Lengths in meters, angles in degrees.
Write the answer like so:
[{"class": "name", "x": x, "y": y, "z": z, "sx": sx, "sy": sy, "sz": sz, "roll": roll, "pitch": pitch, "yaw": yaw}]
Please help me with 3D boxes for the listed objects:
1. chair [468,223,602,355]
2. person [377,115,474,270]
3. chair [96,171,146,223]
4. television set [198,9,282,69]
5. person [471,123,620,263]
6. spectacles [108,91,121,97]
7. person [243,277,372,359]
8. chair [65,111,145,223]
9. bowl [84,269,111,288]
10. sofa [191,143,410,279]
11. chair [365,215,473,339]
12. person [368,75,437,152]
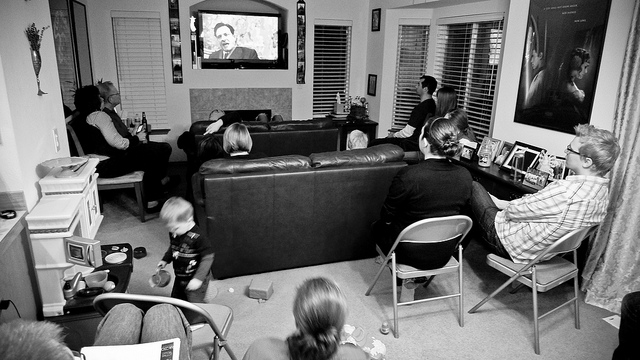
[{"class": "chair", "x": 2.359, "y": 0.961, "z": 4.245, "sx": 1.251, "sy": 1.225, "sz": 0.814, "roll": -16, "pitch": 25, "yaw": -35}, {"class": "person", "x": 1.086, "y": 0.143, "z": 4.042, "sx": 0.895, "sy": 1.459, "sz": 0.579, "roll": -5, "pitch": 21, "yaw": -10}, {"class": "chair", "x": -2.706, "y": 0.295, "z": 5.971, "sx": 0.956, "sy": 0.802, "sz": 0.690, "roll": -4, "pitch": 7, "yaw": -20}, {"class": "television set", "x": -1.629, "y": -2.730, "z": 7.813, "sx": 1.495, "sy": 0.843, "sz": 0.109, "roll": -1, "pitch": 10, "yaw": -13}, {"class": "person", "x": 2.189, "y": 0.038, "z": 4.581, "sx": 0.893, "sy": 1.283, "sz": 1.869, "roll": -6, "pitch": 16, "yaw": -35}, {"class": "spectacles", "x": -3.037, "y": -1.272, "z": 5.983, "sx": 0.099, "sy": 0.039, "sz": 0.240, "roll": -2, "pitch": 18, "yaw": -4}, {"class": "person", "x": -0.094, "y": 0.992, "z": 2.730, "sx": 0.761, "sy": 0.560, "sz": 0.312, "roll": -8, "pitch": 22, "yaw": -20}, {"class": "chair", "x": -3.056, "y": -0.169, "z": 5.775, "sx": 1.243, "sy": 1.437, "sz": 0.644, "roll": 10, "pitch": 24, "yaw": 29}, {"class": "bowl", "x": -2.112, "y": 0.926, "z": 3.808, "sx": 0.180, "sy": 0.102, "sz": 0.166, "roll": 1, "pitch": 11, "yaw": 0}, {"class": "sofa", "x": -0.490, "y": 0.222, "z": 5.469, "sx": 2.924, "sy": 1.338, "sz": 1.677, "roll": -4, "pitch": 16, "yaw": -27}, {"class": "chair", "x": 1.136, "y": 0.877, "z": 4.249, "sx": 1.028, "sy": 1.251, "sz": 0.741, "roll": -8, "pitch": 22, "yaw": -17}, {"class": "person", "x": 1.486, "y": -0.956, "z": 7.289, "sx": 1.219, "sy": 1.687, "sz": 0.810, "roll": 9, "pitch": 19, "yaw": 29}]
